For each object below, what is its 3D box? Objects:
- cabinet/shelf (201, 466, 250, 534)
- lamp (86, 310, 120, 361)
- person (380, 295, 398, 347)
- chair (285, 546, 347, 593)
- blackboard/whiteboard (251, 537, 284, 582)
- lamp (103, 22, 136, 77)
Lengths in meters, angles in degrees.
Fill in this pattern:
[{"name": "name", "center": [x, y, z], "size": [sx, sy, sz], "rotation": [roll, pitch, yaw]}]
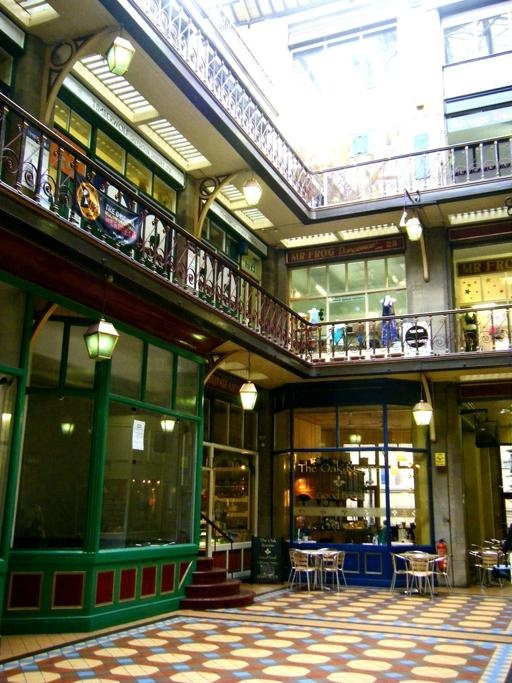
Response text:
[{"name": "cabinet/shelf", "center": [-0.542, 3.153, 10.868], "size": [0.381, 1.457, 2.038], "rotation": [-3, -15, 15]}, {"name": "lamp", "center": [-1.356, -0.031, 4.859], "size": [0.225, 0.360, 0.256], "rotation": [10, -17, -31]}, {"name": "person", "center": [2.740, -0.402, 11.477], "size": [0.337, 1.098, 0.246], "rotation": [-6, -8, 35]}, {"name": "chair", "center": [1.117, 4.095, 10.067], "size": [1.080, 0.752, 2.124], "rotation": [-1, -15, 4]}, {"name": "blackboard/whiteboard", "center": [0.206, 4.162, 10.622], "size": [0.818, 1.101, 0.121], "rotation": [-5, -12, 24]}, {"name": "lamp", "center": [-1.190, -2.528, 4.852], "size": [0.175, 0.388, 0.192], "rotation": [14, -19, -41]}]
